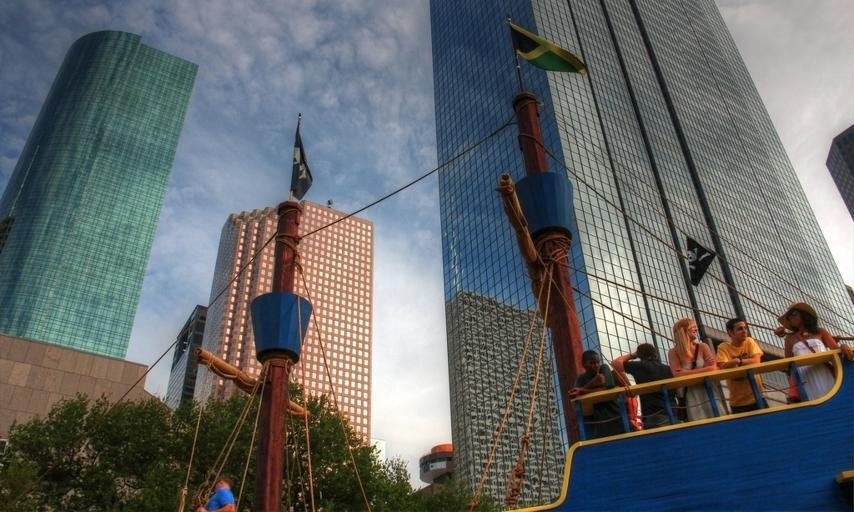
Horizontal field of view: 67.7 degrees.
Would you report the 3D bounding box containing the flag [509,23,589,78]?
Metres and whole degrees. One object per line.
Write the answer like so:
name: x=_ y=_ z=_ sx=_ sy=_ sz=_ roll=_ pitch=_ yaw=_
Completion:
flag: x=6.246 y=-11.062 z=33.643 sx=3.725 sy=3.950 sz=0.418 roll=-7 pitch=-23 yaw=-13
